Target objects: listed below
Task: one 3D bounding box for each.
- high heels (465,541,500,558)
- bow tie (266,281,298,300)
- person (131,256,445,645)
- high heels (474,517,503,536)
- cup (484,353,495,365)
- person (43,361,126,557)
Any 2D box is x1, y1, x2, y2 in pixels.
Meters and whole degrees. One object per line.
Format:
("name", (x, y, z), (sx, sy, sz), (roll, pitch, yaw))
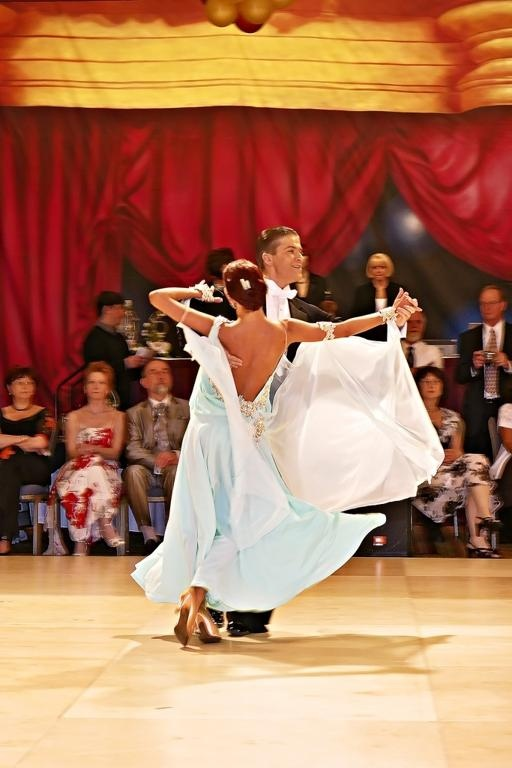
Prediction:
("high heels", (1.457, 1.072, 4.311), (0.178, 0.043, 0.072), (-3, 1, 40))
("bow tie", (0.098, -0.377, 2.724), (0.087, 0.034, 0.081), (3, -3, 18))
("person", (0.103, 0.202, 2.446), (1.296, 1.304, 0.533), (-10, 7, -37))
("high heels", (1.516, 0.923, 4.310), (0.118, 0.136, 0.140), (-10, 7, -35))
("cup", (1.743, -0.186, 4.976), (0.083, 0.078, 0.085), (4, -4, 0))
("person", (-1.135, 0.490, 4.572), (0.515, 1.241, 0.589), (-4, 6, 19))
